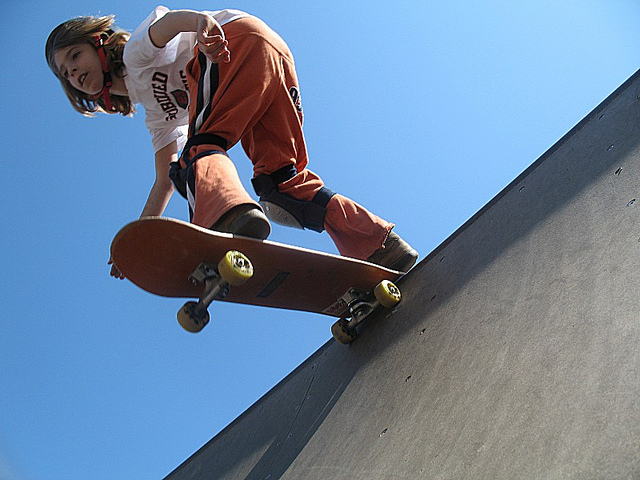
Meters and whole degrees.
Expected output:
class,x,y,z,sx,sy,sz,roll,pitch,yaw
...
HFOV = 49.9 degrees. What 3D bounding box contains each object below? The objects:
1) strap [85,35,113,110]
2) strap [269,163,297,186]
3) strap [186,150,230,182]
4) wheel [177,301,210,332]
class,x,y,z,sx,sy,sz,roll,pitch,yaw
strap,-1.325,-1.005,4.209,0.072,0.359,0.202,-9,-28,-17
strap,-0.213,-0.370,3.976,0.128,0.106,0.100,-37,0,8
strap,-0.580,-0.368,3.517,0.208,0.162,0.097,0,-5,-10
wheel,-0.605,0.363,3.256,0.144,0.140,0.064,0,-5,-12
